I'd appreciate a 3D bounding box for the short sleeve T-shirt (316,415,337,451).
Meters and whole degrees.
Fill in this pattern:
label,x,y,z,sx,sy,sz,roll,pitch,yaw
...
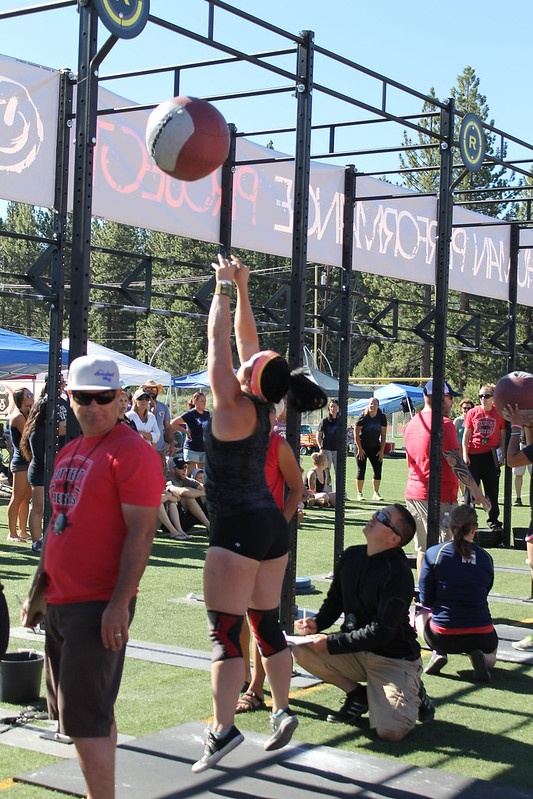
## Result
label,x,y,z,sx,sy,sz,roll,pitch,yaw
short sleeve T-shirt,1.070,0.582,15.639,0.293,0.580,0.411,2,0,-4

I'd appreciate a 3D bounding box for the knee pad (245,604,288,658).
label,x,y,z,sx,sy,sz,roll,pitch,yaw
knee pad,0.001,0.969,3.828,0.126,0.190,0.127,-20,-4,-7

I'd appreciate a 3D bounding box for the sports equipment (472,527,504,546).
label,x,y,z,sx,sy,sz,roll,pitch,yaw
sports equipment,2.827,1.747,11.555,0.385,0.247,0.385,2,3,0

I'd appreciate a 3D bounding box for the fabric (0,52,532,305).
label,x,y,z,sx,sy,sz,roll,pitch,yaw
fabric,0.462,-1.719,8.231,0.613,1.789,7.097,2,0,37

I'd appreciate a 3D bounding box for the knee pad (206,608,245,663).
label,x,y,z,sx,sy,sz,roll,pitch,yaw
knee pad,-0.160,0.908,3.486,0.132,0.192,0.124,2,0,-4

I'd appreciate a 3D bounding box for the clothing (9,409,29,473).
label,x,y,z,sx,sy,sz,roll,pitch,yaw
clothing,-2.802,0.543,10.330,0.201,0.527,0.264,-16,-16,42

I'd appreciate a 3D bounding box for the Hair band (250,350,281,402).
label,x,y,z,sx,sy,sz,roll,pitch,yaw
Hair band,-0.018,-0.086,3.581,0.130,0.175,0.067,-18,12,-37

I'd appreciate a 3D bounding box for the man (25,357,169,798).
label,x,y,z,sx,sy,sz,roll,pitch,yaw
man,-0.546,0.542,2.906,0.419,1.353,0.298,2,0,42

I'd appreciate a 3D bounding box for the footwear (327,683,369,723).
label,x,y,z,sx,sy,sz,roll,pitch,yaw
footwear,0.437,1.526,4.588,0.279,0.128,0.090,-13,1,-42

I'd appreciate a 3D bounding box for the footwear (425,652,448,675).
label,x,y,z,sx,sy,sz,roll,pitch,yaw
footwear,1.051,1.630,5.607,0.085,0.083,0.195,9,-39,-11

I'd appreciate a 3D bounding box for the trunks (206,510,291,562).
label,x,y,z,sx,sy,sz,roll,pitch,yaw
trunks,-0.072,0.540,3.592,0.327,0.228,0.222,3,0,-39

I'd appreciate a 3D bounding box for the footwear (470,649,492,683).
label,x,y,z,sx,sy,sz,roll,pitch,yaw
footwear,1.297,1.597,5.457,0.122,0.182,0.099,2,0,5

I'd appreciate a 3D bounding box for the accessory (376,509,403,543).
label,x,y,z,sx,sy,sz,roll,pitch,yaw
accessory,0.606,0.624,4.520,0.118,0.035,0.112,36,-2,-8

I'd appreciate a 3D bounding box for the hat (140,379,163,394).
label,x,y,z,sx,sy,sz,roll,pitch,yaw
hat,-1.870,-0.227,14.571,0.301,0.135,0.345,3,-21,-8

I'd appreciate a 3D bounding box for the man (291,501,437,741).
label,x,y,z,sx,sy,sz,roll,pitch,yaw
man,0.528,1.097,4.586,0.776,1.053,0.748,9,-10,-28

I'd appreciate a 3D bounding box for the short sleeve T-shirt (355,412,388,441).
label,x,y,z,sx,sy,sz,roll,pitch,yaw
short sleeve T-shirt,2.004,0.553,17.340,0.534,0.646,0.536,2,0,6

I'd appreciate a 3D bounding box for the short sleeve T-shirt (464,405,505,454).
label,x,y,z,sx,sy,sz,roll,pitch,yaw
short sleeve T-shirt,3.004,0.430,12.386,0.709,0.796,0.422,0,-3,-4

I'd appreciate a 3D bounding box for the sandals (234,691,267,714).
label,x,y,z,sx,sy,sz,roll,pitch,yaw
sandals,-0.086,1.526,4.584,0.098,0.075,0.270,-4,-18,6

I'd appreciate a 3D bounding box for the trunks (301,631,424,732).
label,x,y,z,sx,sy,sz,roll,pitch,yaw
trunks,0.476,1.378,4.482,0.533,0.278,0.394,17,-13,22

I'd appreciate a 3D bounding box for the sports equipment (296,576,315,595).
label,x,y,z,sx,sy,sz,roll,pitch,yaw
sports equipment,0.318,1.533,7.618,0.172,0.110,0.172,0,-2,0

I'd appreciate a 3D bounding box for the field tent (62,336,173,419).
label,x,y,z,sx,sy,sz,roll,pitch,yaw
field tent,-2.879,-0.681,20.133,2.089,0.891,2.075,9,-2,-4

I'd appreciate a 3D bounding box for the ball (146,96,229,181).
label,x,y,z,sx,sy,sz,roll,pitch,yaw
ball,-0.393,-1.315,4.614,0.448,0.485,0.440,3,13,-1

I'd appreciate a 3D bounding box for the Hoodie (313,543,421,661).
label,x,y,z,sx,sy,sz,roll,pitch,yaw
Hoodie,0.529,1.030,4.610,0.512,0.599,0.508,11,0,-24

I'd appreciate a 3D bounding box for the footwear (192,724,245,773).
label,x,y,z,sx,sy,sz,roll,pitch,yaw
footwear,-0.187,1.292,3.359,0.149,0.167,0.127,2,0,24

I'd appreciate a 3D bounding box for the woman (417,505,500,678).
label,x,y,z,sx,sy,sz,roll,pitch,yaw
woman,1.209,1.212,5.744,0.672,1.048,0.690,-5,-14,38
